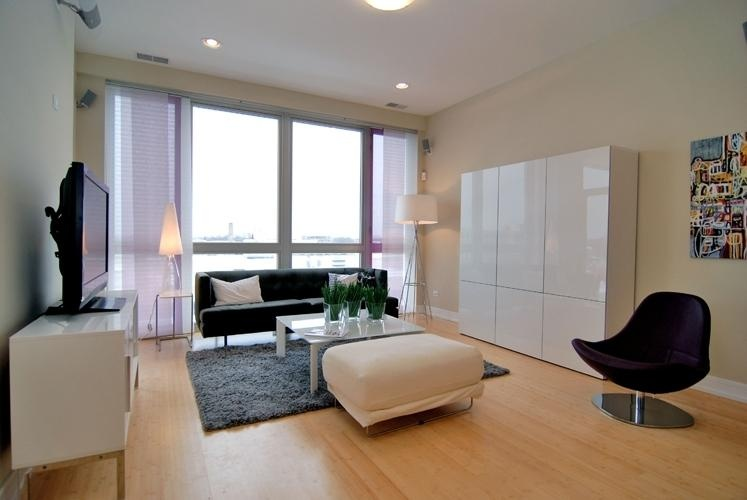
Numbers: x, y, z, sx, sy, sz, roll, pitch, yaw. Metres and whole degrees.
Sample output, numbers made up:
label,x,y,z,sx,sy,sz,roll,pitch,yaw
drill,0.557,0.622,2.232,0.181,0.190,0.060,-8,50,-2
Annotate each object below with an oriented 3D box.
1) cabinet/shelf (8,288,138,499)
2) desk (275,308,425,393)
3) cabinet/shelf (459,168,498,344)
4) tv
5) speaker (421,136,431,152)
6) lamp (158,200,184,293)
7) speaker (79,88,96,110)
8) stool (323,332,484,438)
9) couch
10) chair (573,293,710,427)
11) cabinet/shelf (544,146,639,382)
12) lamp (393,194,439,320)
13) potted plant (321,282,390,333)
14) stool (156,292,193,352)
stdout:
label,x,y,z,sx,sy,sz,roll,pitch,yaw
cabinet/shelf,-2.090,1.097,3.460,0.758,1.248,0.617,-2,3,-33
desk,-0.244,0.865,4.907,0.898,0.353,0.888,-1,2,-30
cabinet/shelf,1.409,0.178,6.517,0.258,2.515,0.953,-8,-3,13
tv,-2.446,-0.065,4.186,0.544,1.155,1.279,0,2,-20
speaker,0.818,-1.610,7.669,0.119,0.208,0.161,-2,3,-38
lamp,-2.427,-0.027,5.906,0.261,1.050,0.432,-1,3,-23
speaker,-3.273,-1.711,5.619,0.193,0.210,0.101,-2,3,-31
stool,0.258,1.084,4.280,1.282,0.556,0.596,-1,2,-22
couch,-0.957,0.698,6.371,2.496,0.895,0.789,-1,0,-29
chair,2.357,0.935,4.290,1.036,1.054,0.967,1,3,-18
cabinet/shelf,2.247,0.031,5.289,0.798,2.253,0.654,-2,7,-2
lamp,0.668,0.104,7.318,0.603,1.834,0.993,0,3,6
potted plant,-0.157,0.565,5.107,0.718,0.677,0.435,2,-5,-29
stool,-2.437,0.857,6.024,0.437,0.553,0.425,0,-8,-13
